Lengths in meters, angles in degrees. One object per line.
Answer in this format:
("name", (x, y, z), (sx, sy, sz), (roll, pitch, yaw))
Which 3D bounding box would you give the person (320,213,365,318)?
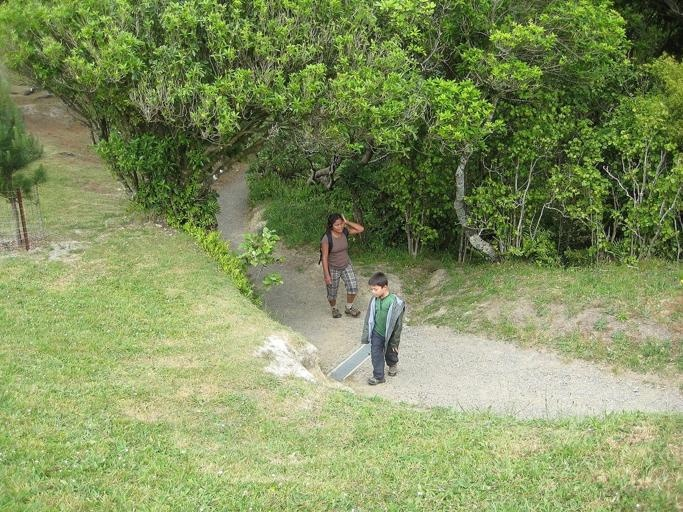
("person", (0.025, 0.221, 12.095), (0.793, 2.278, 0.663), (-2, 24, 1))

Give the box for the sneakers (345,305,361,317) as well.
("sneakers", (0.216, 1.136, 12.450), (0.308, 0.152, 0.169), (14, 22, 40))

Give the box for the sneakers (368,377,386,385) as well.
("sneakers", (0.542, 1.974, 9.470), (0.281, 0.139, 0.106), (-4, 16, -13))

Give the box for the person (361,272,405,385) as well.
("person", (0.651, 1.125, 9.420), (0.635, 1.851, 0.542), (0, 14, 4))
